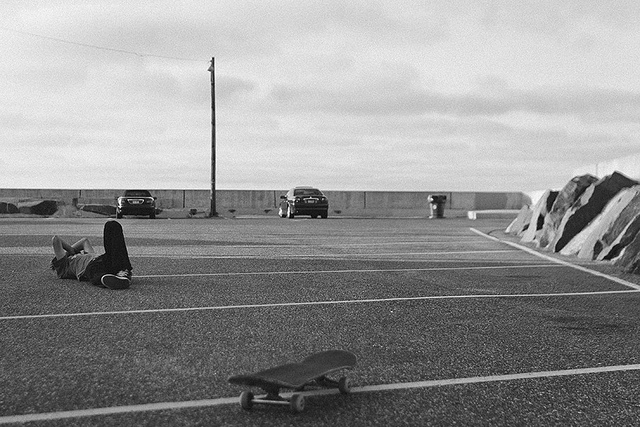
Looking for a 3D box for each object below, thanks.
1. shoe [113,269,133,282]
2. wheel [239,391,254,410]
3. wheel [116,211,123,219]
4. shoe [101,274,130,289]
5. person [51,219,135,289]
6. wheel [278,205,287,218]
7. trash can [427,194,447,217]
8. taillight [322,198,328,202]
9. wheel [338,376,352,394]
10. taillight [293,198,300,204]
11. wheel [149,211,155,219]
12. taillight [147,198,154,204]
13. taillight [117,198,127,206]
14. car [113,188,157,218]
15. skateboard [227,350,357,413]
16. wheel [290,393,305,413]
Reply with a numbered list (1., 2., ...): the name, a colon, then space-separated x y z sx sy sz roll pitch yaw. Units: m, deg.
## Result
1. shoe: -3.032 0.938 9.529 0.307 0.122 0.105 13 -14 0
2. wheel: -0.655 1.631 5.453 0.128 0.150 0.141 -1 9 -8
3. wheel: -10.896 0.053 33.387 0.415 0.314 0.417 -1 -11 0
4. shoe: -3.097 1.023 9.286 0.385 0.202 0.163 9 10 -10
5. person: -3.761 0.684 9.996 1.982 0.988 0.803 -5 -3 32
6. wheel: -2.228 -0.042 35.843 0.453 0.538 0.594 0 -10 1
7. trash can: 6.666 -0.527 35.272 1.182 1.379 1.173 1 -3 -10
8. taillight: 0.252 -0.737 32.537 0.304 0.212 0.143 -7 11 -37
9. wheel: 0.229 1.560 5.637 0.048 0.139 0.140 -12 -17 43
10. taillight: -1.258 -0.688 32.358 0.329 0.286 0.209 -2 9 -11
11. wheel: -9.056 0.045 32.999 0.262 0.435 0.645 -3 9 -17
12. taillight: -9.056 -0.703 32.742 0.274 0.266 0.457 1 9 8
13. taillight: -10.482 -0.609 32.443 0.595 0.310 0.201 3 10 21
14. car: -10.006 -0.639 33.470 1.951 1.556 2.352 -2 9 -12
15. skateboard: -0.214 1.458 5.584 0.458 0.310 1.202 0 -4 29
16. wheel: -0.197 1.635 5.343 0.140 0.179 0.113 -2 9 -12
